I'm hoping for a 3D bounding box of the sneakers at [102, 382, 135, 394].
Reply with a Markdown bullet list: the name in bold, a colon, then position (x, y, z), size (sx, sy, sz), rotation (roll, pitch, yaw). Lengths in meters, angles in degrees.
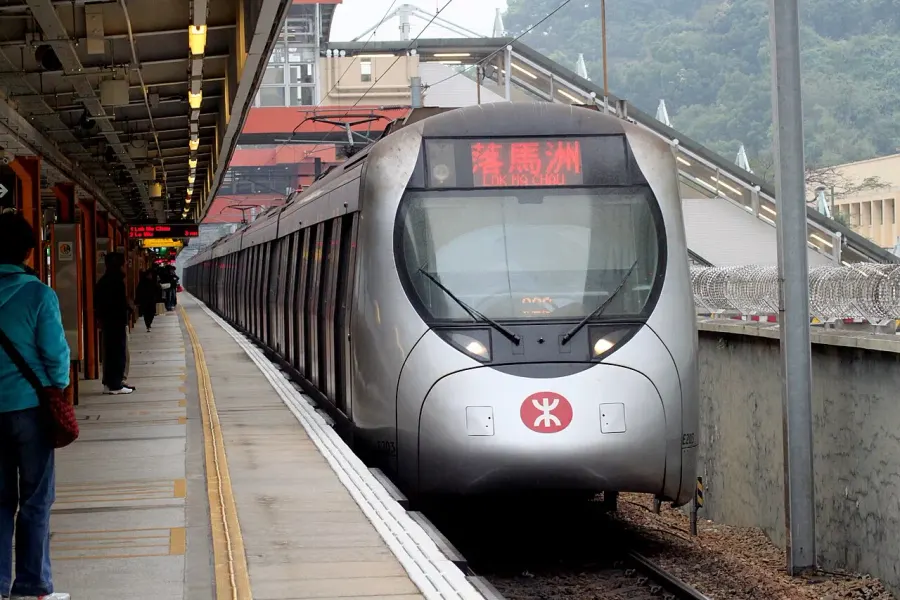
- **sneakers**: position (-5.726, 1.551, 14.851), size (0.591, 0.275, 0.215), rotation (-1, 3, -24)
